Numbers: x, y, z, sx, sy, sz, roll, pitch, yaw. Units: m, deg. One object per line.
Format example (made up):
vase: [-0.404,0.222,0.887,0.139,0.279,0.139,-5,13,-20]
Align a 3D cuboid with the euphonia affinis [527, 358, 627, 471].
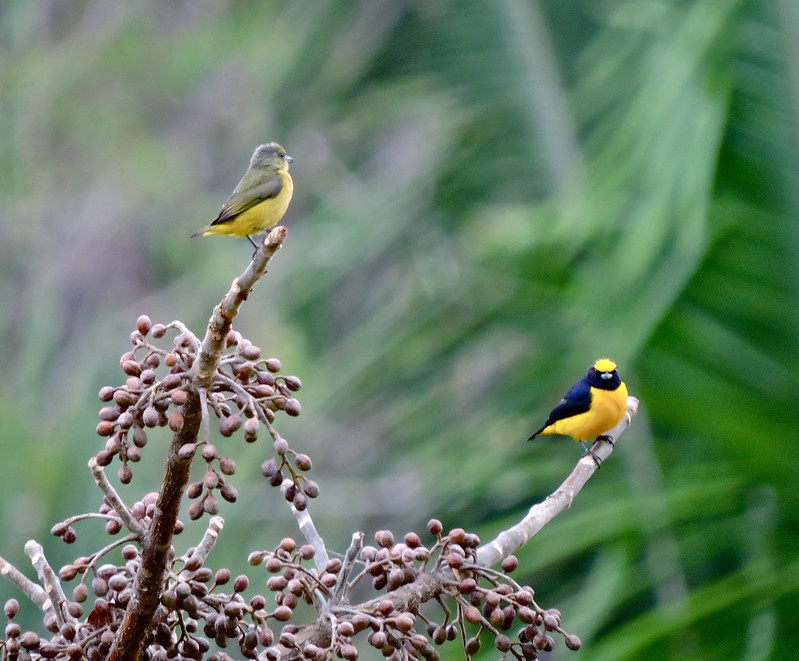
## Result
euphonia affinis: [0.499,0.202,3.160,0.292,0.356,0.177,6,6,26]

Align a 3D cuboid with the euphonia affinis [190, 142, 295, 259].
euphonia affinis: [-0.395,-0.326,2.945,0.227,0.273,0.150,0,-8,-11]
